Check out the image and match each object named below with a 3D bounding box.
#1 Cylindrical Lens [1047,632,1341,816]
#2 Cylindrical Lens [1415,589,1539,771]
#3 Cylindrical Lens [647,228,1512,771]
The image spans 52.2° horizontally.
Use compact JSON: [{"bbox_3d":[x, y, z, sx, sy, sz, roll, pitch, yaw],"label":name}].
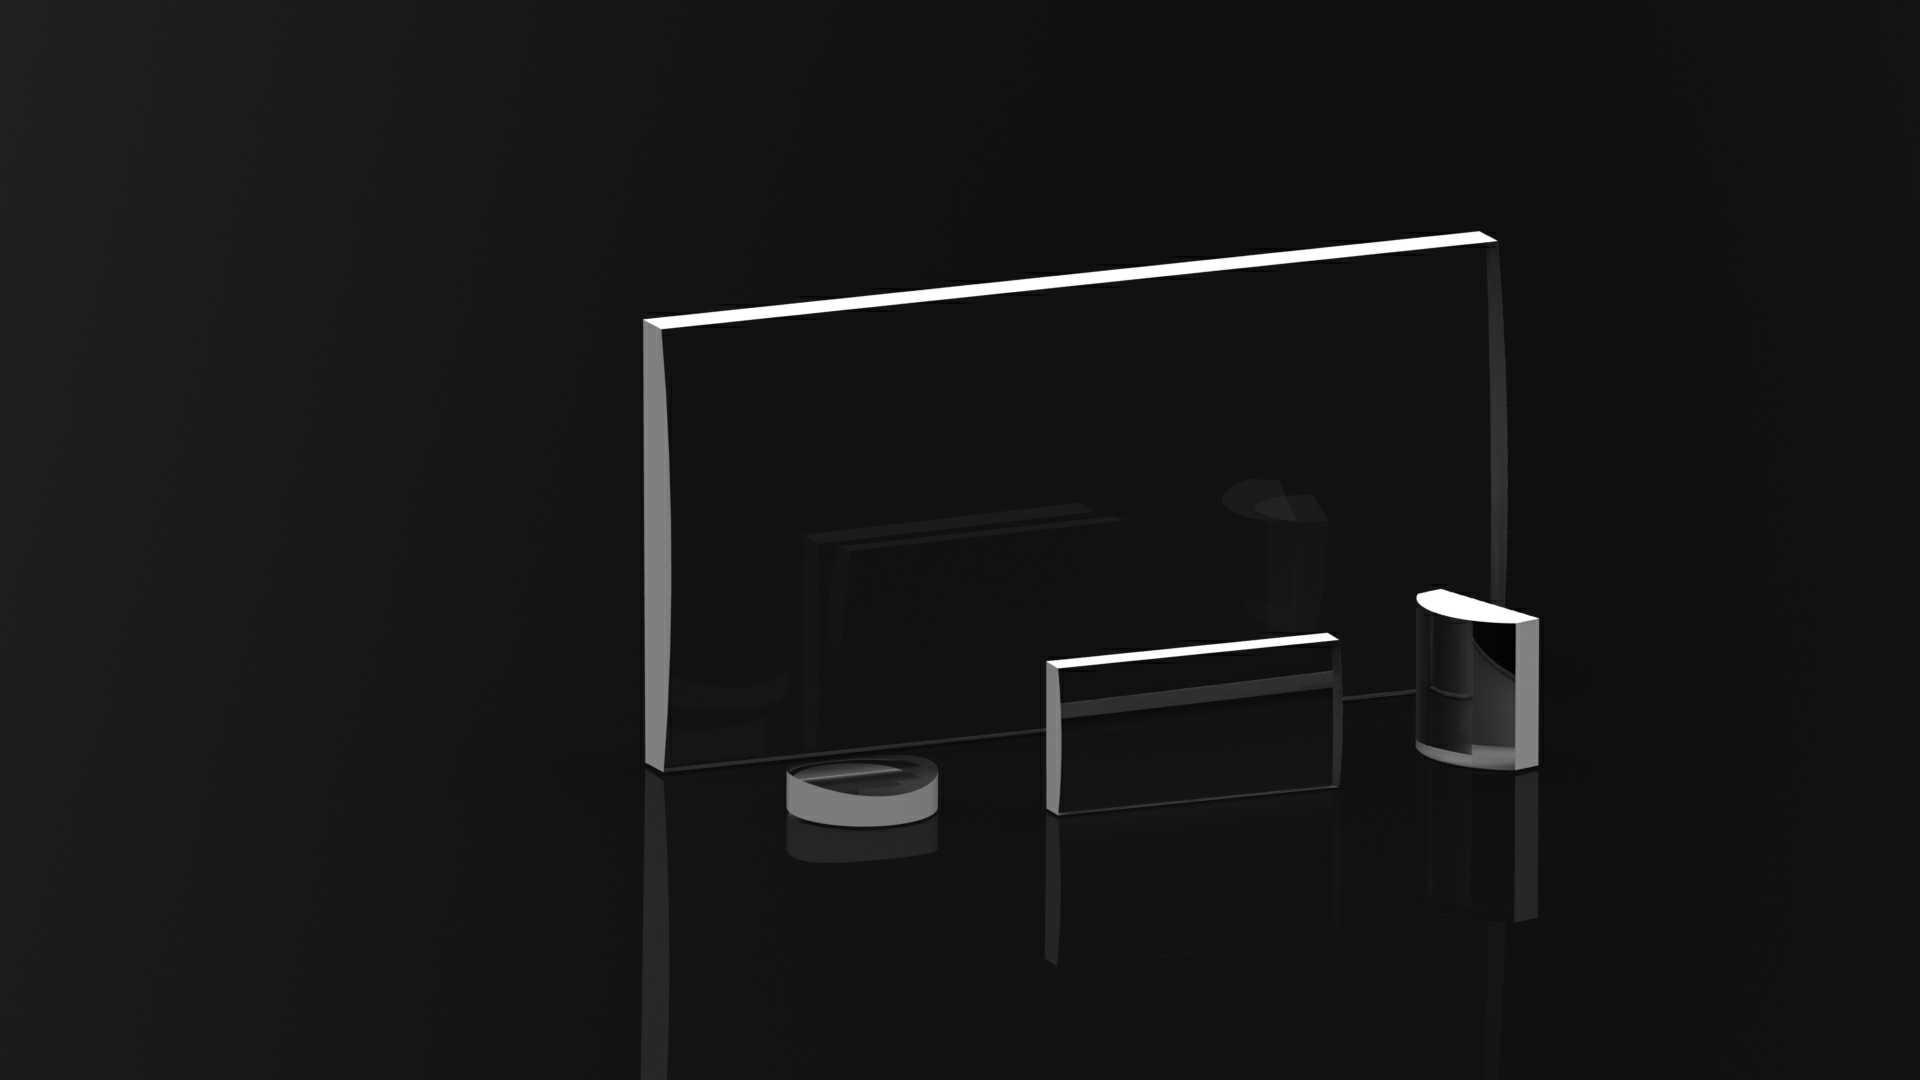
[{"bbox_3d":[0.201,0.151,1.688,0.267,0.132,0.043,-5,18,-10],"label":"Cylindrical Lens"},{"bbox_3d":[0.457,0.123,1.774,0.081,0.133,0.144,-2,5,-13],"label":"Cylindrical Lens"},{"bbox_3d":[0.095,-0.031,1.769,0.885,0.444,0.096,-5,-8,33],"label":"Cylindrical Lens"}]
